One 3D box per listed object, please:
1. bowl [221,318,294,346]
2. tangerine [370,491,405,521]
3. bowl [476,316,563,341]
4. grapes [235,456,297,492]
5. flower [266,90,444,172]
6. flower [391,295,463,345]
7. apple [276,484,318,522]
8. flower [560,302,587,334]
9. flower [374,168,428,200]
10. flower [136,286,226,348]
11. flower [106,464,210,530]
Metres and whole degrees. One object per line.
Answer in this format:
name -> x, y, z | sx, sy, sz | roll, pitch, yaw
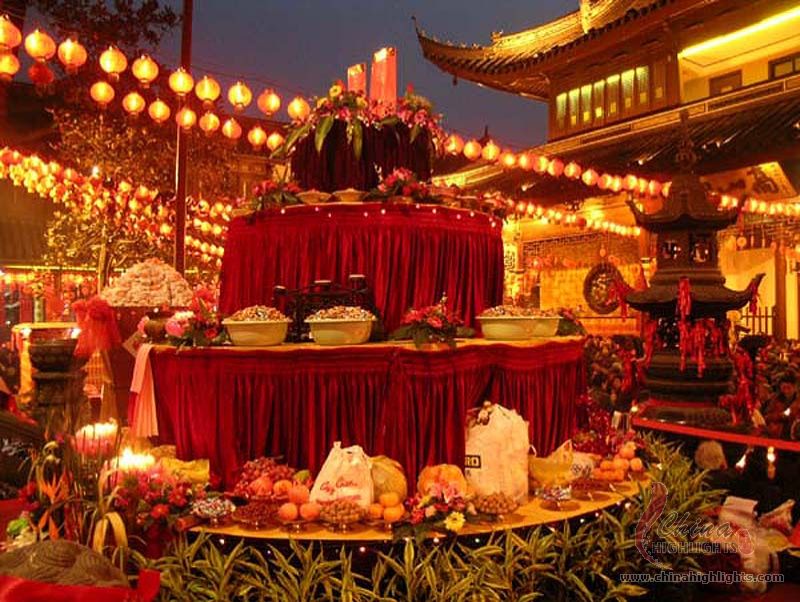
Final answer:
bowl -> -0.987, 0.217, 4.832 | 0.407, 0.193, 0.156 | 1, -3, 6
tangerine -> -0.084, 1.308, 4.453 | 0.175, 0.074, 0.172 | -16, 25, -41
bowl -> 0.931, 0.204, 5.366 | 0.691, 0.201, 0.298 | 4, -4, -31
grapes -> -0.896, 1.110, 4.611 | 0.223, 0.133, 0.249 | 5, -7, -44
flower -> -0.373, -1.483, 6.121 | 1.244, 0.458, 1.344 | 2, 4, 21
flower -> 0.223, 0.117, 4.944 | 0.462, 0.281, 0.388 | 16, 8, 0
apple -> -0.638, 1.283, 4.450 | 0.251, 0.235, 0.107 | 2, -3, -11
flower -> 2.448, 0.214, 9.859 | 0.476, 0.258, 0.746 | -3, 8, -7
flower -> 0.001, -0.868, 5.521 | 0.291, 0.186, 0.300 | -1, 5, -12
flower -> -1.552, 0.092, 5.106 | 0.479, 0.445, 0.644 | 4, -4, -33
flower -> -1.556, 1.230, 4.490 | 0.601, 0.351, 0.299 | 3, -3, -18
